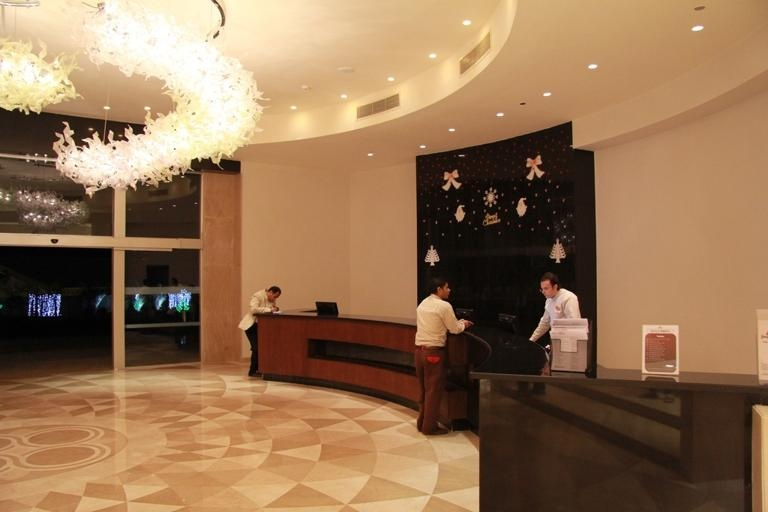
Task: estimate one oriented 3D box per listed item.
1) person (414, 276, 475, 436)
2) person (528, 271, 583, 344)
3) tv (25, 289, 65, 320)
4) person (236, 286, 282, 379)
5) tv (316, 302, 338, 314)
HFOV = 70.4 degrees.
[{"bbox_3d":[0.740,1.382,7.546,0.573,2.075,0.443,-2,5,-17],"label":"person"},{"bbox_3d":[2.400,0.779,7.630,0.575,1.063,2.205,1,5,16],"label":"person"},{"bbox_3d":[-8.092,1.119,13.019,0.702,0.648,0.166,-6,17,-38],"label":"tv"},{"bbox_3d":[-2.437,1.461,10.806,0.792,1.711,0.697,2,6,26],"label":"person"},{"bbox_3d":[-1.030,0.956,10.022,0.370,0.230,0.553,-1,5,-8],"label":"tv"}]
